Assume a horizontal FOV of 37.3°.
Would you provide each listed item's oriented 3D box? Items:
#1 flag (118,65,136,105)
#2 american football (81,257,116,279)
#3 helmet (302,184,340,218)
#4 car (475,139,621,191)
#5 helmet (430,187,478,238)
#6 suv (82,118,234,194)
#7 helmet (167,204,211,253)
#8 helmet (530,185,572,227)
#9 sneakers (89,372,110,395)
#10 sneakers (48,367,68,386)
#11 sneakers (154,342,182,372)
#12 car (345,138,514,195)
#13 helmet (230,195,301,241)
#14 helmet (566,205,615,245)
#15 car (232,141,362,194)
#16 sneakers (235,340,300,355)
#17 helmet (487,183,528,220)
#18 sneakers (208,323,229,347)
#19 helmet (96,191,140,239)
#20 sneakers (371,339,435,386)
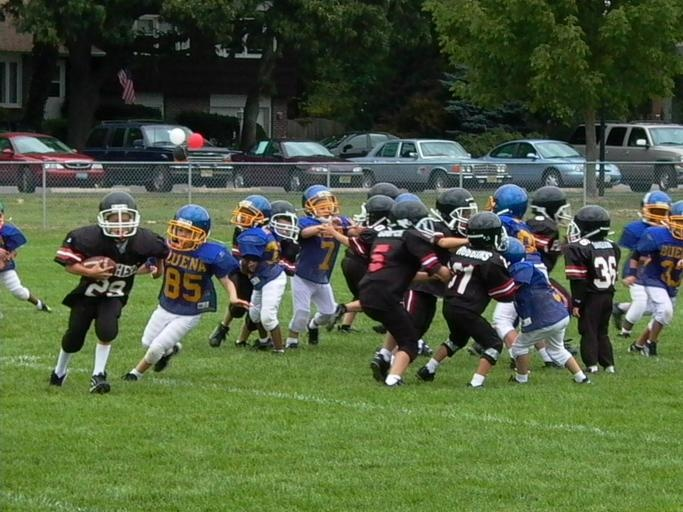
[{"bbox_3d":[-6.205,-4.852,29.046,0.408,0.989,1.333,-2,14,-12],"label":"flag"},{"bbox_3d":[-2.199,0.100,9.222,0.181,0.134,0.229,-1,-6,-38],"label":"american football"},{"bbox_3d":[-0.254,-0.615,11.478,0.328,0.316,0.410,-1,2,-30],"label":"helmet"},{"bbox_3d":[4.388,-2.064,22.855,1.512,1.013,3.189,-3,4,-37],"label":"car"},{"bbox_3d":[1.177,-0.484,10.851,0.542,0.480,0.458,1,3,31],"label":"helmet"},{"bbox_3d":[-4.040,-2.177,21.938,3.762,1.638,2.126,4,5,43],"label":"suv"},{"bbox_3d":[-1.448,-0.264,9.641,0.370,0.353,0.463,10,11,16],"label":"helmet"},{"bbox_3d":[2.385,-0.571,11.316,0.535,0.413,0.443,1,9,2],"label":"helmet"},{"bbox_3d":[-2.274,1.163,9.501,0.191,0.168,0.214,-3,15,-15],"label":"sneakers"},{"bbox_3d":[-2.708,1.143,9.660,0.183,0.214,0.513,2,-1,-11],"label":"sneakers"},{"bbox_3d":[-1.720,0.979,9.914,0.373,0.155,0.122,-31,52,-12],"label":"sneakers"},{"bbox_3d":[1.857,-1.895,21.487,3.100,0.903,1.521,4,6,45],"label":"car"},{"bbox_3d":[-0.860,-0.453,11.023,0.652,0.452,0.453,3,16,-19],"label":"helmet"},{"bbox_3d":[2.568,-0.321,10.520,0.447,0.383,0.351,7,9,32],"label":"helmet"},{"bbox_3d":[-1.269,-2.035,21.103,1.484,0.975,2.982,-2,2,-38],"label":"car"},{"bbox_3d":[-0.904,0.993,11.184,0.637,0.251,0.211,-3,-4,13],"label":"sneakers"},{"bbox_3d":[1.814,-0.589,10.959,0.310,0.325,0.380,-14,40,-44],"label":"helmet"},{"bbox_3d":[-1.336,0.831,11.250,0.167,0.126,0.363,-19,18,19],"label":"sneakers"},{"bbox_3d":[-2.094,-0.385,9.474,0.366,0.366,0.458,0,3,-12],"label":"helmet"},{"bbox_3d":[0.604,1.062,10.081,0.142,0.425,0.204,43,13,32],"label":"sneakers"}]
